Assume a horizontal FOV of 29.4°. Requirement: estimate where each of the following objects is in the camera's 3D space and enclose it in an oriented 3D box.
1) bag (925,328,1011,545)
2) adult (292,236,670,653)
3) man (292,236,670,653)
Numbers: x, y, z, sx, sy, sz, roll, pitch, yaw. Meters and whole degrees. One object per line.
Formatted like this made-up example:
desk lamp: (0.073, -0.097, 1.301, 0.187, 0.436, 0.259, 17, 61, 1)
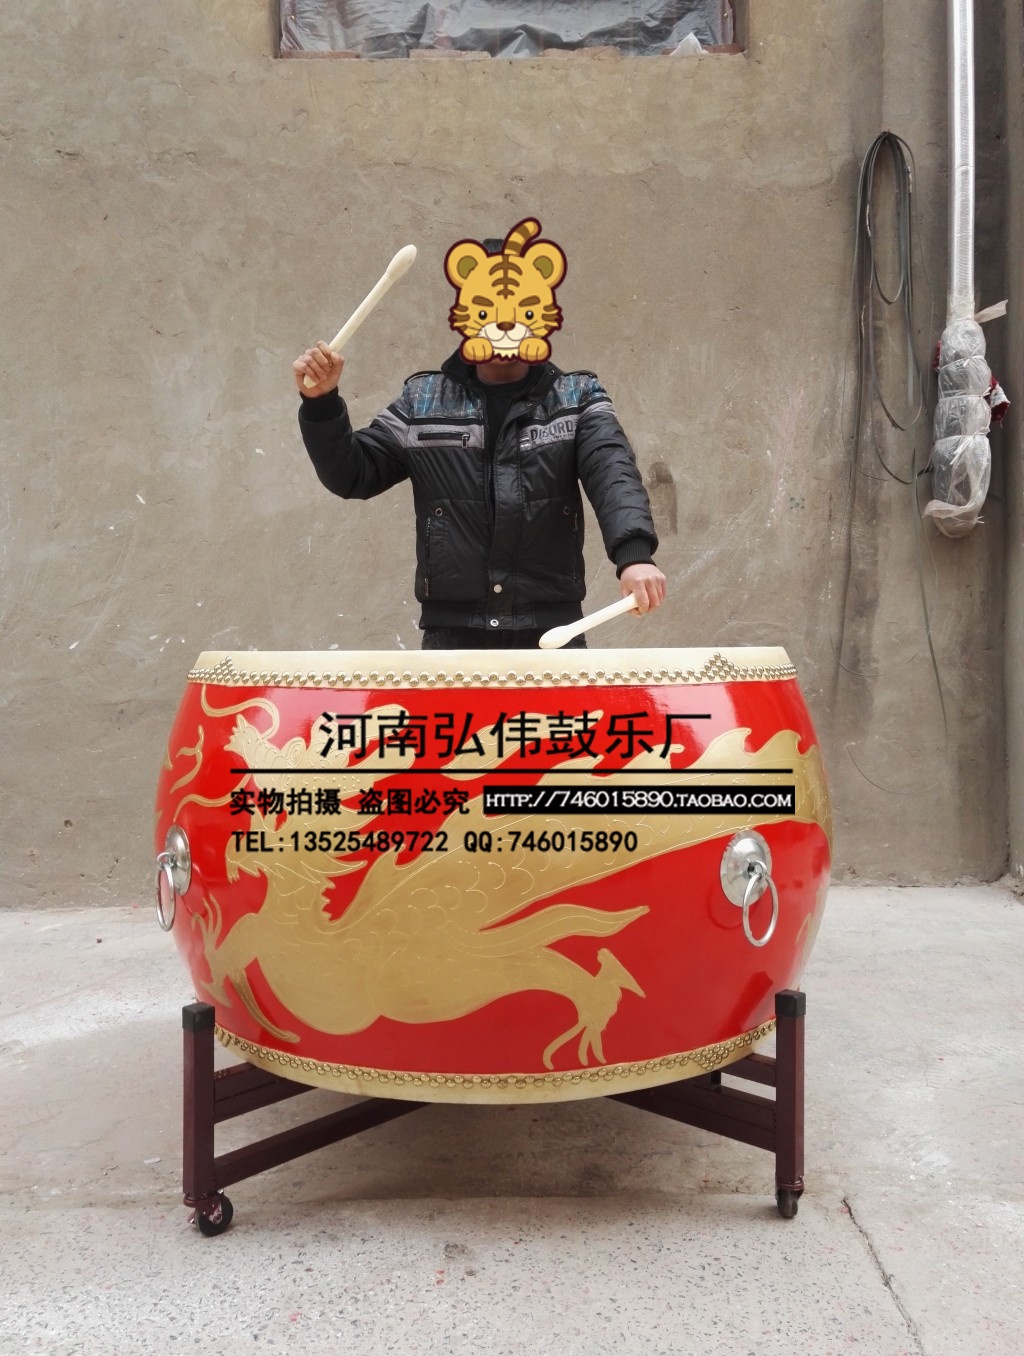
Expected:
bag: (1.190, -0.646, 5.074, 0.211, 0.567, 0.176, 0, 14, 2)
adult: (-0.066, -0.431, 3.749, 0.701, 0.861, 0.511, 1, 14, 8)
man: (-0.046, -0.418, 3.857, 0.670, 0.968, 0.483, -2, 1, 8)
